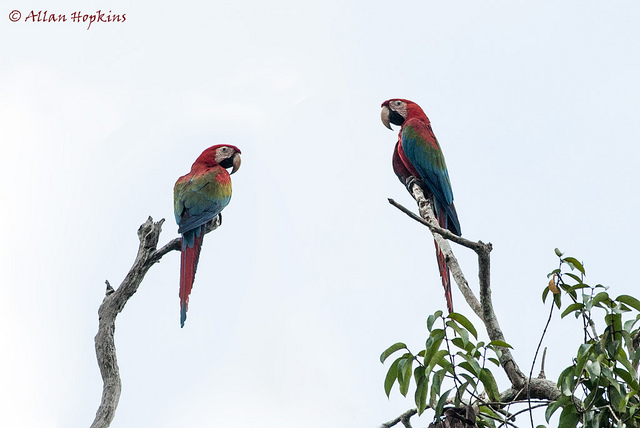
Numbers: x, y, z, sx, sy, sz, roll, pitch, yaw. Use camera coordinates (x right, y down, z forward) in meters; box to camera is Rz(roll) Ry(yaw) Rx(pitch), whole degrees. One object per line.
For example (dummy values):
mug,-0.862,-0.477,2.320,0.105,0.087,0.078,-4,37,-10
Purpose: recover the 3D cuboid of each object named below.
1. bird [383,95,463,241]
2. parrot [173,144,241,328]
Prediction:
bird,0.759,-0.282,6.521,0.607,1.368,0.364,2,-35,-1
parrot,-0.950,0.011,7.009,0.635,1.797,0.459,6,-34,-21
